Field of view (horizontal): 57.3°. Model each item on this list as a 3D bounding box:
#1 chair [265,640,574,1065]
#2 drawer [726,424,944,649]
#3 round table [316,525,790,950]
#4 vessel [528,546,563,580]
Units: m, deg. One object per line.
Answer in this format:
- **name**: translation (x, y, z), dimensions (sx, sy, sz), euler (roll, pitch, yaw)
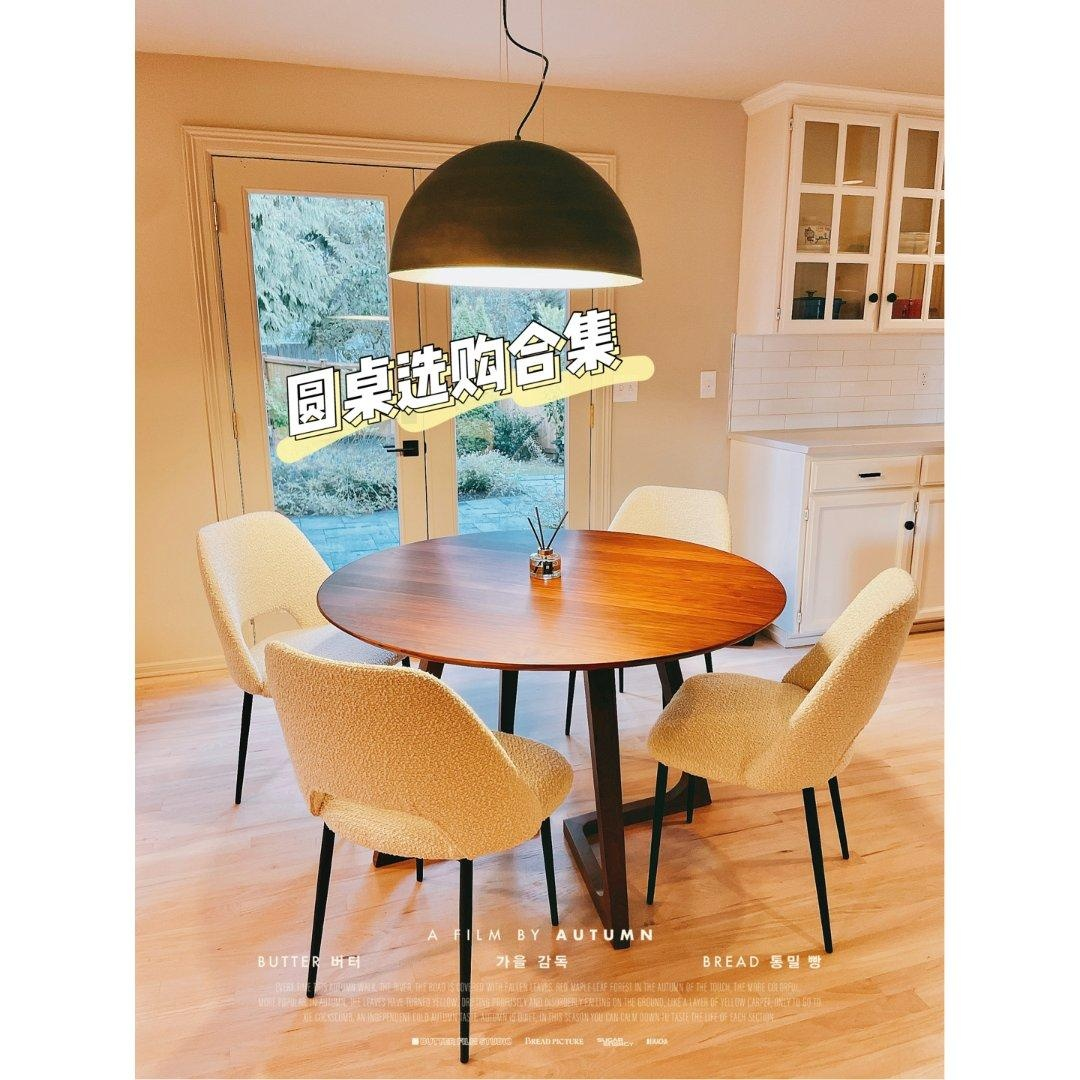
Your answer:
- **chair**: translation (-0.202, 0.594, 2.002), dimensions (0.608, 0.913, 0.384), euler (-7, 16, -14)
- **drawer**: translation (1.078, -0.012, 3.535), dimensions (1.065, 0.754, 0.529), euler (-4, 9, -21)
- **round table**: translation (0.113, 0.408, 2.603), dimensions (1.200, 0.591, 1.021), euler (9, 26, 20)
- **vessel**: translation (0.006, 0.055, 2.526), dimensions (0.094, 0.061, 0.082), euler (-5, 14, -16)
